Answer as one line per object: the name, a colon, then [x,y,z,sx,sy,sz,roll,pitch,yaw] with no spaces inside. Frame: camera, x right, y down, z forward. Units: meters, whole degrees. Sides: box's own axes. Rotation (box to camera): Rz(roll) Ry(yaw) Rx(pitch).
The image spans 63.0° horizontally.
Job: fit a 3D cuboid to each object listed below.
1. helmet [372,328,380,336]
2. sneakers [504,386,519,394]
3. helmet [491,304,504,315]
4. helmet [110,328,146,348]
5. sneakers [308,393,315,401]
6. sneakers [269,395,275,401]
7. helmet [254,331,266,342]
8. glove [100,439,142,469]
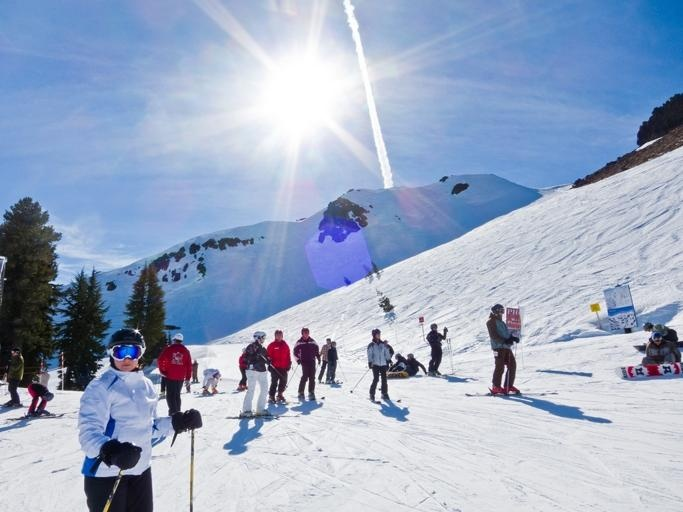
helmet: [1.171,2.567,18.591,0.271,0.234,0.213,-11,-12,38]
sneakers: [5.327,4.229,17.393,0.456,0.192,0.284,-1,5,16]
helmet: [4.769,1.616,17.010,0.434,0.323,0.323,-7,11,-10]
helmet: [-3.866,1.455,10.036,0.391,0.465,0.424,3,2,-15]
sneakers: [-1.029,4.835,18.983,0.218,0.188,0.193,0,0,33]
sneakers: [-2.316,4.807,18.659,0.257,0.222,0.172,-2,-5,3]
helmet: [-2.477,2.453,16.934,0.369,0.274,0.270,-9,1,-18]
glove: [-3.767,3.386,9.425,0.613,0.436,0.317,12,34,30]
